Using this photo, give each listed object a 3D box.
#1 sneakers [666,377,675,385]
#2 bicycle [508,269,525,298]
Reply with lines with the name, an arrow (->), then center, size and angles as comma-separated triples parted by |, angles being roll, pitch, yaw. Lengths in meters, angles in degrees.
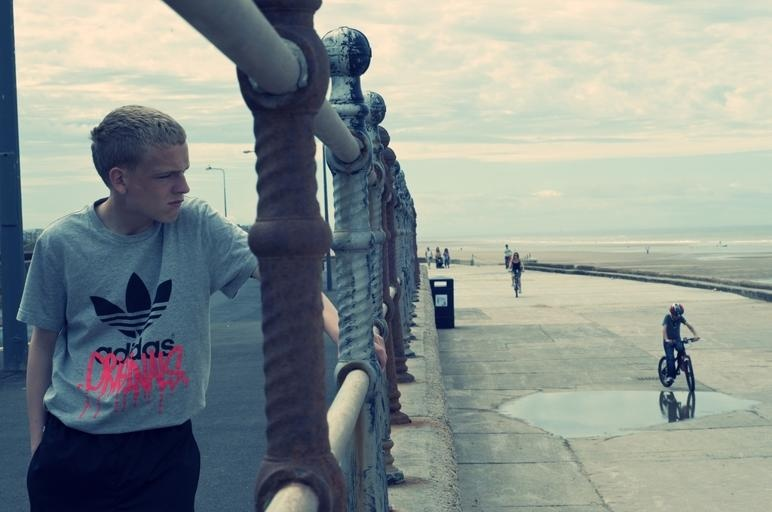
sneakers -> 4.025, 1.776, 14.194 | 0.119, 0.034, 0.111 | -10, 2, 7
bicycle -> 4.115, 0.901, 31.736 | 0.657, 0.675, 1.247 | -1, 0, 4
